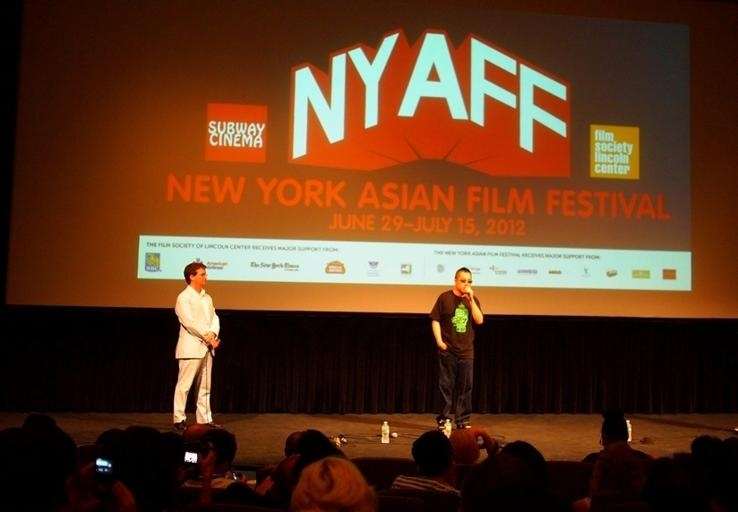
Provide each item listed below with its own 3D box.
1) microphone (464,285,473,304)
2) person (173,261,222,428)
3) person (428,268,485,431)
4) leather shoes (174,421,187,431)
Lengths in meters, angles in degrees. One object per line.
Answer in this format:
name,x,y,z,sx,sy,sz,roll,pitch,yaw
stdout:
microphone,1.139,0.441,7.667,0.051,0.172,0.126,4,13,9
person,-1.910,0.953,7.432,0.476,1.840,0.336,3,-10,-18
person,0.989,1.021,7.626,0.579,1.761,0.332,0,-9,5
leather shoes,-2.075,1.849,7.392,0.126,0.098,0.200,2,-9,-12
